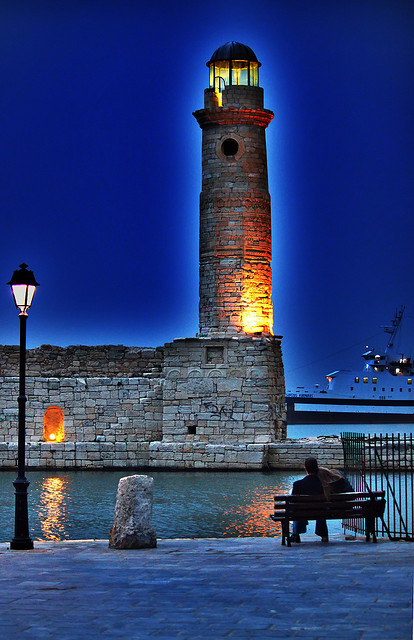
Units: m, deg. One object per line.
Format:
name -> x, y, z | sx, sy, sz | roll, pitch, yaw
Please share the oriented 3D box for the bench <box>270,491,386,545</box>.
bench -> 1.342, 2.214, 10.338 | 1.221, 0.541, 0.461 | -1, -8, -1
